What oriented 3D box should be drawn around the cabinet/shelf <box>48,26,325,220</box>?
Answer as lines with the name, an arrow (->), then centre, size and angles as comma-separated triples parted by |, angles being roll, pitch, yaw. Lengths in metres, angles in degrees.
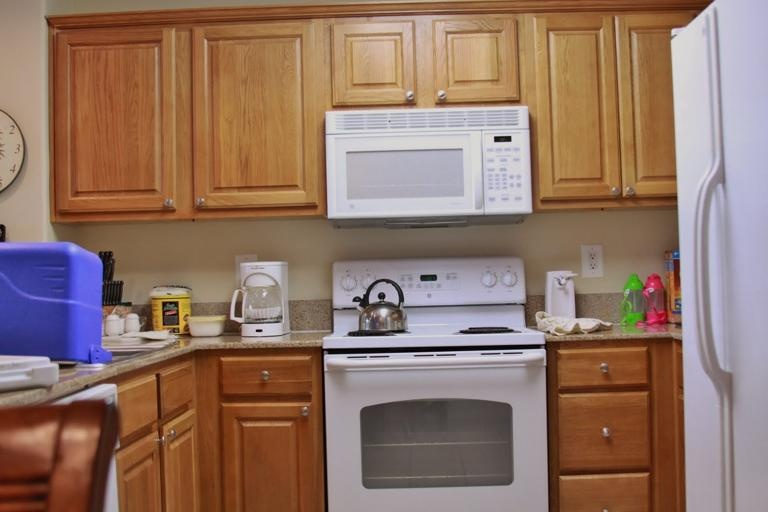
cabinet/shelf -> -0.907, -0.675, 3.656 | 1.547, 1.006, 0.577 | 2, 2, 17

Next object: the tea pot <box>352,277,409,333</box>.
tea pot -> -0.032, 0.236, 3.403 | 0.291, 0.257, 0.199 | 0, -5, 23

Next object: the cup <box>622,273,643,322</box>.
cup -> 1.260, 0.213, 3.608 | 0.101, 0.245, 0.170 | 0, 1, 18

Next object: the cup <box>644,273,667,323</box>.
cup -> 1.358, 0.209, 3.567 | 0.111, 0.241, 0.199 | 0, 1, 19

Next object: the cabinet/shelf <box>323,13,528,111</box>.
cabinet/shelf -> 0.218, -0.953, 3.503 | 0.938, 0.404, 0.323 | 2, 13, 16

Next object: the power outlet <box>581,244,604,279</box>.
power outlet -> 1.075, 0.024, 3.679 | 0.004, 0.170, 0.125 | 0, -2, -44

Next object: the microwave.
microwave -> 0.294, -0.450, 3.551 | 1.059, 0.515, 0.504 | 2, 7, 26

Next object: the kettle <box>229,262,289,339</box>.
kettle -> -0.598, 0.209, 3.512 | 0.255, 0.350, 0.278 | -3, -2, 4
